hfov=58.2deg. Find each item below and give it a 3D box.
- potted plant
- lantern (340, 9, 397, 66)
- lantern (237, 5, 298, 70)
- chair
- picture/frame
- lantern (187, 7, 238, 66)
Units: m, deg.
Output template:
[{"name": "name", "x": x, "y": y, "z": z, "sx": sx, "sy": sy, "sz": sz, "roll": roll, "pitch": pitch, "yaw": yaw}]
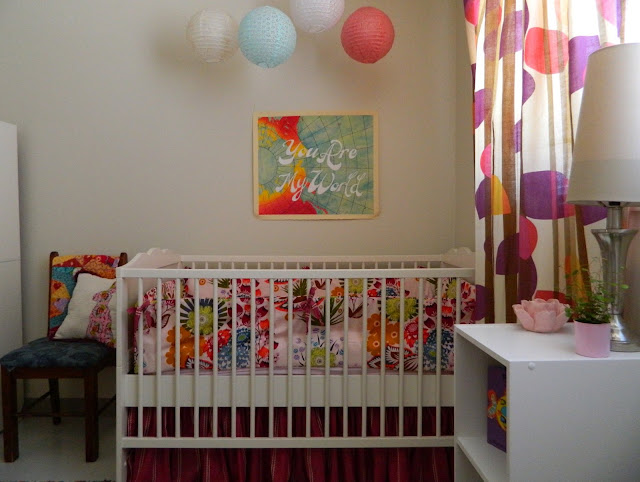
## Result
[{"name": "potted plant", "x": 0.979, "y": 0.257, "z": 2.079, "sx": 0.285, "sy": 0.449, "sz": 0.208, "roll": 0, "pitch": -2, "yaw": 9}, {"name": "lantern", "x": 0.247, "y": -1.068, "z": 3.143, "sx": 0.261, "sy": 0.349, "sz": 0.268, "roll": 1, "pitch": 0, "yaw": -3}, {"name": "lantern", "x": -0.281, "y": -1.010, "z": 3.094, "sx": 0.284, "sy": 0.369, "sz": 0.282, "roll": 7, "pitch": -8, "yaw": -31}, {"name": "chair", "x": -1.407, "y": 0.601, "z": 3.195, "sx": 0.594, "sy": 1.136, "sz": 0.554, "roll": -1, "pitch": 1, "yaw": -4}, {"name": "picture/frame", "x": -0.003, "y": -0.483, "z": 3.455, "sx": 0.558, "sy": 0.541, "sz": 0.080, "roll": 1, "pitch": 1, "yaw": -4}, {"name": "lantern", "x": -0.561, "y": -1.090, "z": 3.062, "sx": 0.236, "sy": 0.285, "sz": 0.220, "roll": -1, "pitch": 10, "yaw": -2}]
